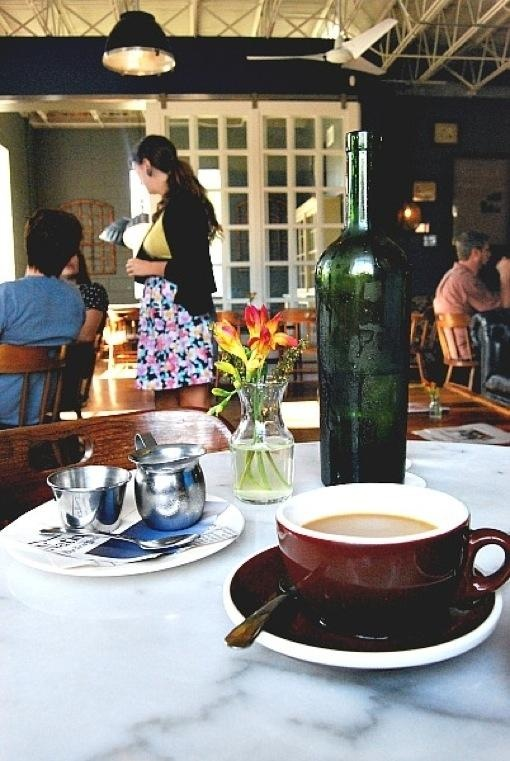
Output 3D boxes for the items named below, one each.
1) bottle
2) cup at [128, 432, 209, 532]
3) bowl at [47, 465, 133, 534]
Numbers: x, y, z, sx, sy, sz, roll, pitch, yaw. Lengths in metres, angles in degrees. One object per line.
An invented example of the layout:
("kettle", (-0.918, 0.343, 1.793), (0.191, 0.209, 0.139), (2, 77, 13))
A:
("bottle", (0.116, -0.069, 0.699), (0.099, 0.370, 0.132), (-2, 2, 6))
("cup", (-0.089, 0.108, 0.637), (0.067, 0.077, 0.084), (-1, -4, -11))
("bowl", (-0.159, 0.115, 0.629), (0.080, 0.047, 0.074), (0, 10, 0))
